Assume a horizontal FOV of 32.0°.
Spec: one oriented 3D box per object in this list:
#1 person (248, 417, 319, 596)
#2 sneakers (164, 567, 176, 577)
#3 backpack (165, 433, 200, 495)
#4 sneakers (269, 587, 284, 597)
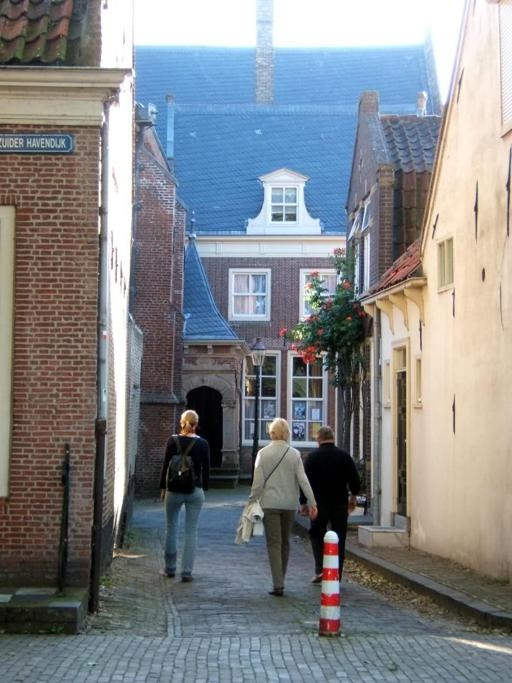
[{"bbox_3d":[0.255,1.562,8.704,0.647,1.648,0.863,2,-4,1],"label":"person"},{"bbox_3d":[-0.911,2.426,9.482,0.066,0.127,0.113,0,6,-28],"label":"sneakers"},{"bbox_3d":[-0.759,1.296,9.408,0.311,0.559,0.319,-6,9,-27],"label":"backpack"},{"bbox_3d":[0.192,2.296,8.299,0.125,0.081,0.105,3,-5,1],"label":"sneakers"}]
